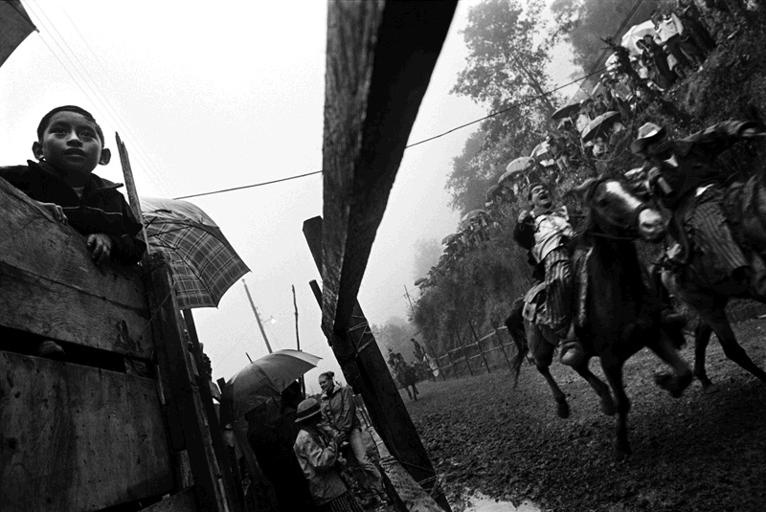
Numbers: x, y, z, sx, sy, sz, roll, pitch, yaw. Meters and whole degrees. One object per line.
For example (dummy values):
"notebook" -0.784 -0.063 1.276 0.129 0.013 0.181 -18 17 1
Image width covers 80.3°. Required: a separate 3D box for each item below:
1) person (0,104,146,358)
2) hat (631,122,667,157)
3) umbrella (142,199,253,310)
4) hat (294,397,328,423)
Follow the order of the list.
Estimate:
"person" -1.755 -0.392 2.588 0.688 1.200 0.811 -3 -24 -36
"hat" 3.001 -1.311 5.272 0.353 0.157 0.414 -48 -6 -17
"umbrella" -2.609 -0.113 6.229 0.587 1.729 1.407 -23 -20 16
"hat" -0.885 1.835 5.398 0.286 0.263 0.320 -12 -20 -17
